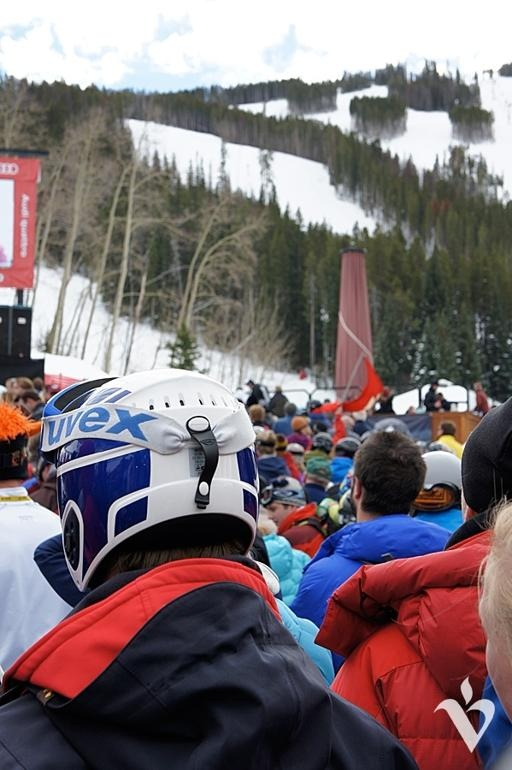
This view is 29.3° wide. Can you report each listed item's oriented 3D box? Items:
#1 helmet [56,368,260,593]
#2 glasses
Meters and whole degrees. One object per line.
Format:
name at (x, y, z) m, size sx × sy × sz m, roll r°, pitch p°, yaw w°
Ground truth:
helmet at (-0.177, 0.171, 1.677) m, size 0.255 × 0.325 × 0.356 m, roll 6°, pitch -30°, yaw -18°
glasses at (-0.327, 0.066, 1.716) m, size 0.153 × 0.144 × 0.114 m, roll 7°, pitch -10°, yaw -21°
